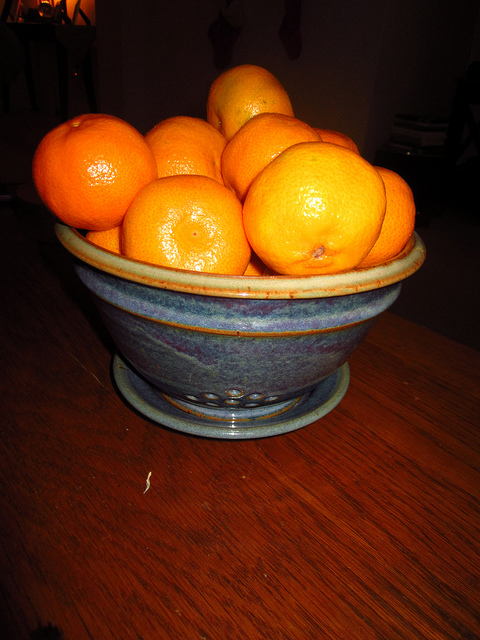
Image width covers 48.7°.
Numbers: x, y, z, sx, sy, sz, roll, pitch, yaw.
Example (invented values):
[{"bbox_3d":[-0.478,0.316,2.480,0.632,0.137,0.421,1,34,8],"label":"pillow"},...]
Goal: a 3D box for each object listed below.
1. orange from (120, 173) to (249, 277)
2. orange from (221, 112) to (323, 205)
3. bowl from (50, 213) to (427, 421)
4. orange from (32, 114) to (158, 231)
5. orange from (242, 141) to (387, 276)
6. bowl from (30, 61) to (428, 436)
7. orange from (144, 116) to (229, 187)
[{"bbox_3d":[-0.050,-0.070,0.458,0.104,0.100,0.101,15,19,33],"label":"orange"},{"bbox_3d":[0.021,-0.141,0.491,0.061,0.060,0.062,28,20,0],"label":"orange"},{"bbox_3d":[-0.001,-0.013,0.486,0.297,0.156,0.296,1,20,0],"label":"bowl"},{"bbox_3d":[-0.151,-0.135,0.463,0.086,0.076,0.079,10,39,13],"label":"orange"},{"bbox_3d":[0.062,-0.090,0.433,0.112,0.121,0.106,-5,19,6],"label":"orange"},{"bbox_3d":[-0.002,-0.025,0.479,0.299,0.209,0.276,2,15,-1],"label":"bowl"},{"bbox_3d":[-0.044,-0.159,0.553,0.085,0.080,0.098,7,12,3],"label":"orange"}]
